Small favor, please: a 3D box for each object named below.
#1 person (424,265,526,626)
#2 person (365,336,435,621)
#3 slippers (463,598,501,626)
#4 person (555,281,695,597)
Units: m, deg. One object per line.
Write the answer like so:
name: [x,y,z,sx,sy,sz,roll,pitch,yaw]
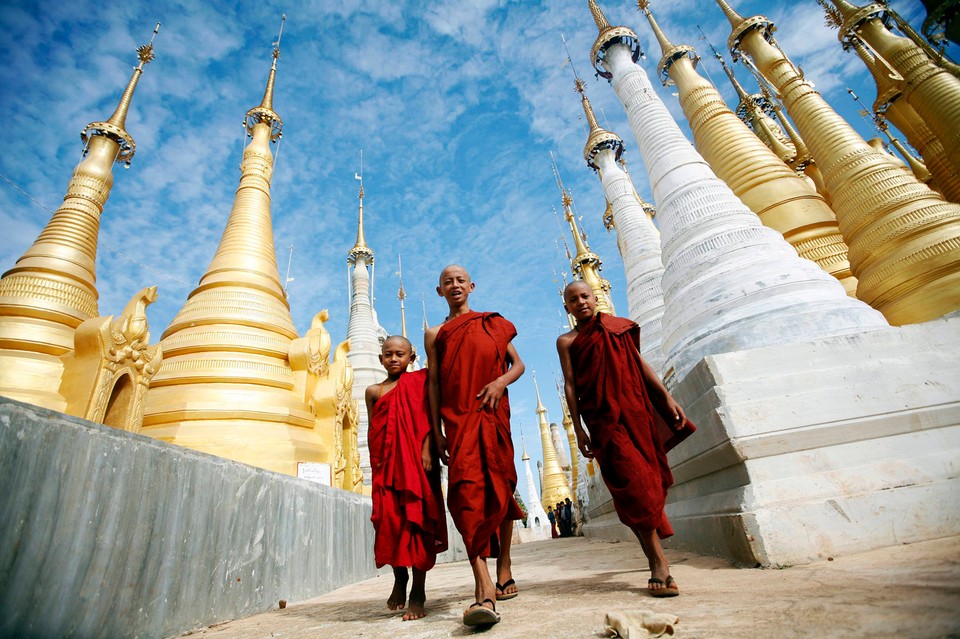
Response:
person: [0.026,0.714,4.058,0.717,2.482,0.850,-7,-12,-5]
person: [-0.592,1.095,4.388,0.541,2.073,0.611,-6,-12,-9]
slippers: [0.012,1.788,3.471,0.219,0.152,0.154,-7,-12,-2]
person: [1.100,0.722,4.259,0.816,2.313,0.779,-9,-12,5]
